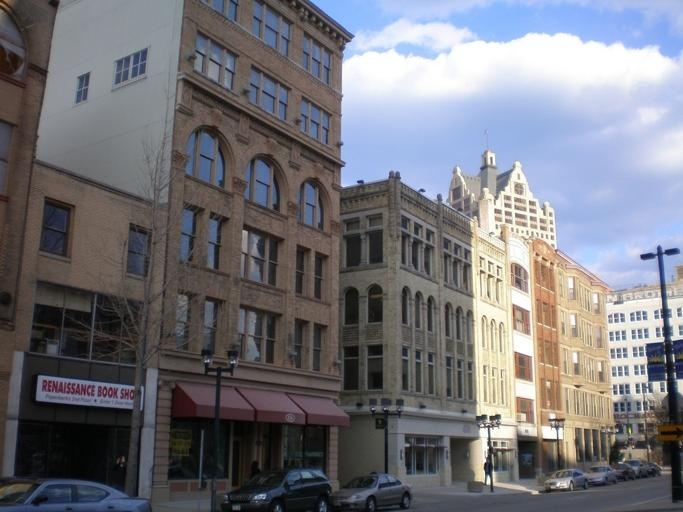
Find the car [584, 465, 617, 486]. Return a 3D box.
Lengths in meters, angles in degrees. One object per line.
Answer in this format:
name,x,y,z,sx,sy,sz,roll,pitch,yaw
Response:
car,19.513,16.505,51.549,1.643,1.578,3.708,-13,-24,27

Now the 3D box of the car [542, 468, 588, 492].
car,15.361,15.423,47.134,1.762,1.523,3.812,-19,-27,37
